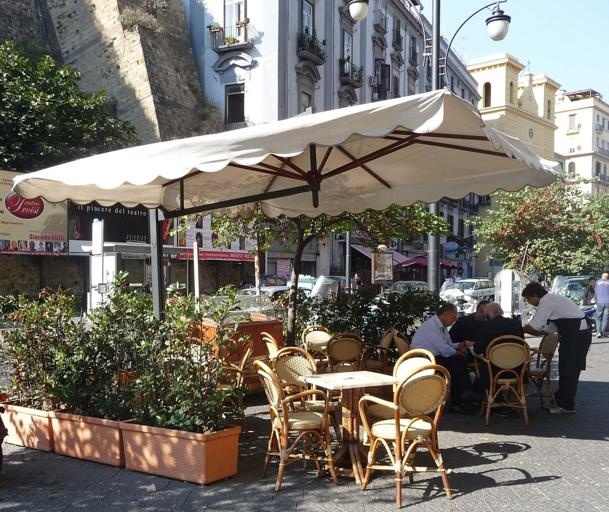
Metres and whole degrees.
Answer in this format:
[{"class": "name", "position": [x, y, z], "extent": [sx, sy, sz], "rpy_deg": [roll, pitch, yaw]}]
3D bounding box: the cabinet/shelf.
[{"class": "cabinet/shelf", "position": [-1.070, 1.264, 10.217], "extent": [0.993, 1.757, 1.721], "rpy_deg": [3, 0, 29]}]

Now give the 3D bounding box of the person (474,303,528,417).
[{"class": "person", "position": [2.963, 1.609, 11.312], "extent": [0.787, 1.841, 0.890], "rpy_deg": [-6, 10, 1]}]
